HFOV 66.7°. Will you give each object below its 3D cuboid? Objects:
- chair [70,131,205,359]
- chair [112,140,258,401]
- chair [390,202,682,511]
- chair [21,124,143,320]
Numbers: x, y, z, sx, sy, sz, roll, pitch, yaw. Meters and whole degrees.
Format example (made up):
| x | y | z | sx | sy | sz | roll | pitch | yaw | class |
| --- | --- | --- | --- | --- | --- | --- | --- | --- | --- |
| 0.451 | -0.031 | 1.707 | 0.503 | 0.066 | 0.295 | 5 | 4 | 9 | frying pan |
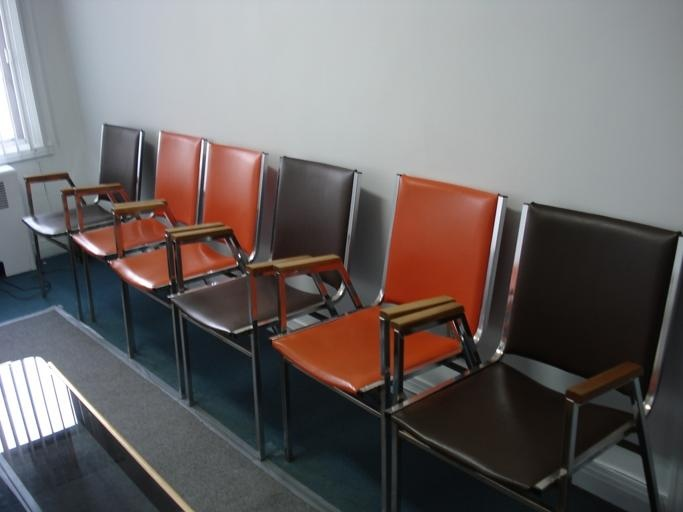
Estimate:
| x | y | z | sx | sy | sz | roll | pitch | yaw | class |
| --- | --- | --- | --- | --- | --- | --- | --- | --- | --- |
| -1.153 | -0.129 | 2.989 | 0.669 | 1.048 | 0.627 | -12 | 24 | -39 | chair |
| -0.791 | 0.032 | 2.718 | 0.599 | 1.153 | 0.650 | 18 | 23 | 38 | chair |
| 0.583 | 0.253 | 1.540 | 0.698 | 0.663 | 0.537 | -15 | 27 | -38 | chair |
| -1.671 | -0.248 | 3.378 | 0.605 | 1.127 | 0.645 | 16 | 20 | 36 | chair |
